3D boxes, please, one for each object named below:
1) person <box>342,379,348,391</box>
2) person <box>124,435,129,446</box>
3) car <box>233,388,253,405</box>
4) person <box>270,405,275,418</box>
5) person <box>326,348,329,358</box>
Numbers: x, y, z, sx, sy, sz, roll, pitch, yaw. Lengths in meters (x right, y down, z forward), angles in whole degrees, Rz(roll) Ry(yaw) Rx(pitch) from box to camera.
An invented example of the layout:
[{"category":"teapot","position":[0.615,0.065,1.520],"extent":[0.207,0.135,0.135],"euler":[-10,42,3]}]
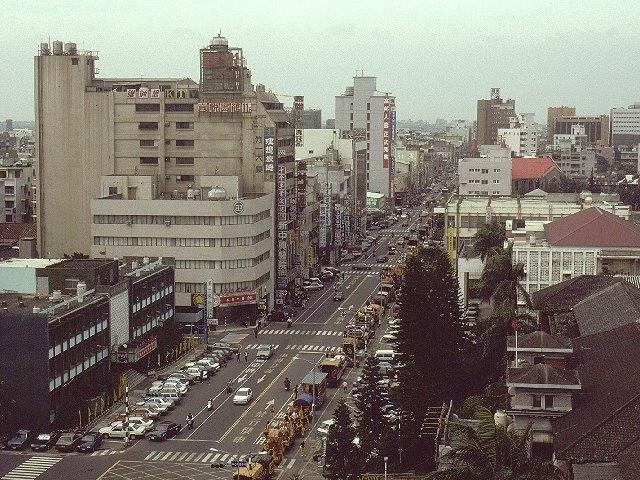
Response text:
[{"category":"person","position":[2.705,15.740,114.186],"extent":[0.467,1.467,0.442],"euler":[-7,-24,10]},{"category":"person","position":[-18.136,18.671,98.562],"extent":[0.481,0.814,1.472],"euler":[-3,6,-11]},{"category":"car","position":[-8.018,16.168,109.750],"extent":[1.002,0.800,2.118],"euler":[4,20,1]},{"category":"person","position":[-4.821,17.342,106.753],"extent":[0.461,1.172,0.481],"euler":[-12,28,-22]},{"category":"person","position":[0.994,13.445,125.495],"extent":[0.309,1.171,1.100],"euler":[0,4,20]}]
